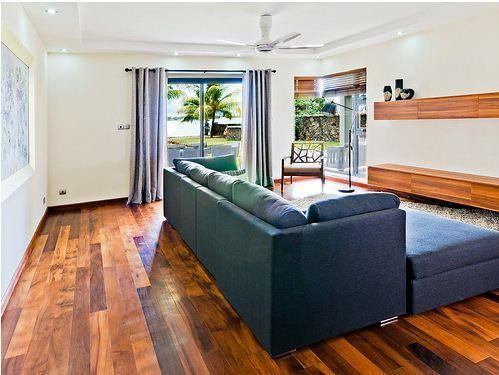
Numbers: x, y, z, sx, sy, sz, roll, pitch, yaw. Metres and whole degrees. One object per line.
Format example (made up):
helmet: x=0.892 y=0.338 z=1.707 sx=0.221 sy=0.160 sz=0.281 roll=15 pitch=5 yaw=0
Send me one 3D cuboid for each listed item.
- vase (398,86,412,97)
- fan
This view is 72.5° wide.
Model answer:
vase: x=2.468 y=-1.513 z=5.458 sx=0.185 sy=0.171 sz=0.183 roll=0 pitch=4 yaw=-1
fan: x=0.381 y=-2.179 z=5.151 sx=1.046 sy=0.354 sz=1.046 roll=2 pitch=4 yaw=22
